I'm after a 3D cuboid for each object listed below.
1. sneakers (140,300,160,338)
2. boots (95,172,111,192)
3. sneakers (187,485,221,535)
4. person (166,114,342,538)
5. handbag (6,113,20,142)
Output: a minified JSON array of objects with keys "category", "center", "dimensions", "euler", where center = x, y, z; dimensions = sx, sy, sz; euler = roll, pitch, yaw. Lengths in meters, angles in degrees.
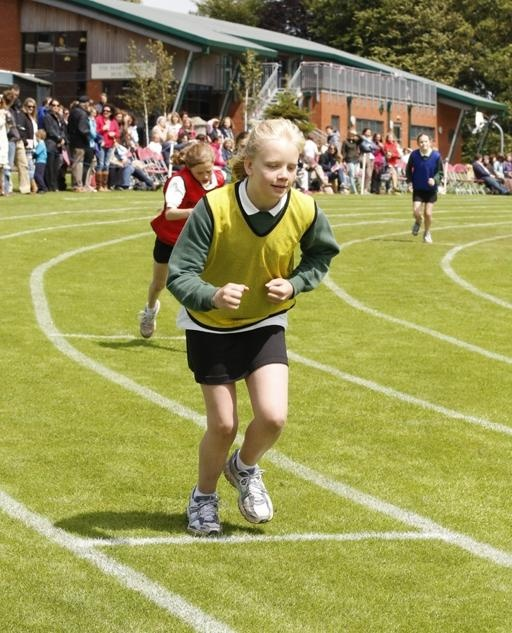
[{"category":"sneakers","center":[-1.031,0.043,6.444],"dimensions":[0.165,0.396,0.186],"euler":[5,0,-3]},{"category":"boots","center":[-4.878,-4.283,21.264],"dimensions":[0.315,0.645,0.606],"euler":[7,4,24]},{"category":"sneakers","center":[-0.221,0.788,2.676],"dimensions":[0.084,0.087,0.215],"euler":[2,6,-16]},{"category":"person","center":[-0.041,0.051,2.674],"dimensions":[0.489,1.618,0.697],"euler":[9,5,38]},{"category":"handbag","center":[-6.209,-4.754,17.016],"dimensions":[0.276,0.747,0.333],"euler":[-8,-19,9]}]
